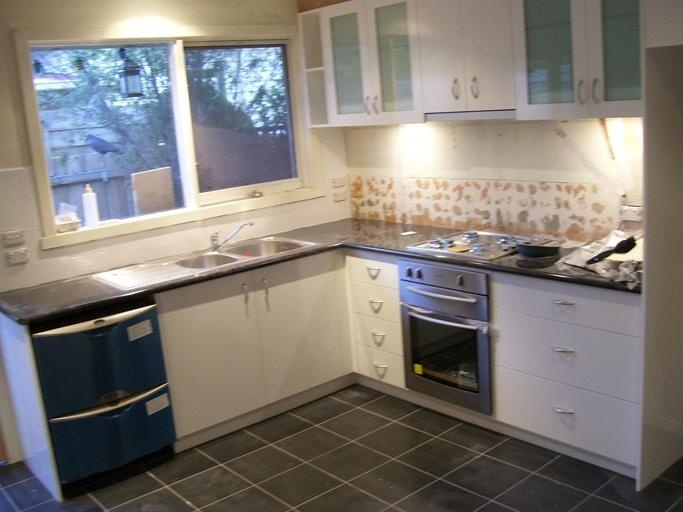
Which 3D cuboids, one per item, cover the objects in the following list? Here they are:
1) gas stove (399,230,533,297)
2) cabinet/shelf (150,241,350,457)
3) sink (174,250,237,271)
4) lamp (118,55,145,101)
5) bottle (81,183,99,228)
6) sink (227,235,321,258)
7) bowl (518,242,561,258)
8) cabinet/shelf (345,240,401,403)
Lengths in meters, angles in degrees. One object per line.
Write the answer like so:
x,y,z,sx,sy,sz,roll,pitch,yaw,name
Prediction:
0.823,-0.011,3.293,0.785,0.162,0.678,1,21,28,gas stove
-0.613,0.618,3.400,1.454,0.918,0.533,-15,23,-34,cabinet/shelf
-0.952,0.008,3.642,0.240,0.068,0.188,-13,21,-43,sink
-1.424,-1.207,3.561,0.148,0.267,0.035,-18,19,-41,lamp
-1.651,-0.336,3.468,0.093,0.280,0.121,-5,15,4,bottle
-0.530,-0.058,3.863,0.326,0.151,0.297,8,18,37,sink
1.142,-0.043,3.045,0.236,0.081,0.178,0,12,18,bowl
0.247,0.424,3.643,0.159,0.900,0.451,-16,17,-31,cabinet/shelf
